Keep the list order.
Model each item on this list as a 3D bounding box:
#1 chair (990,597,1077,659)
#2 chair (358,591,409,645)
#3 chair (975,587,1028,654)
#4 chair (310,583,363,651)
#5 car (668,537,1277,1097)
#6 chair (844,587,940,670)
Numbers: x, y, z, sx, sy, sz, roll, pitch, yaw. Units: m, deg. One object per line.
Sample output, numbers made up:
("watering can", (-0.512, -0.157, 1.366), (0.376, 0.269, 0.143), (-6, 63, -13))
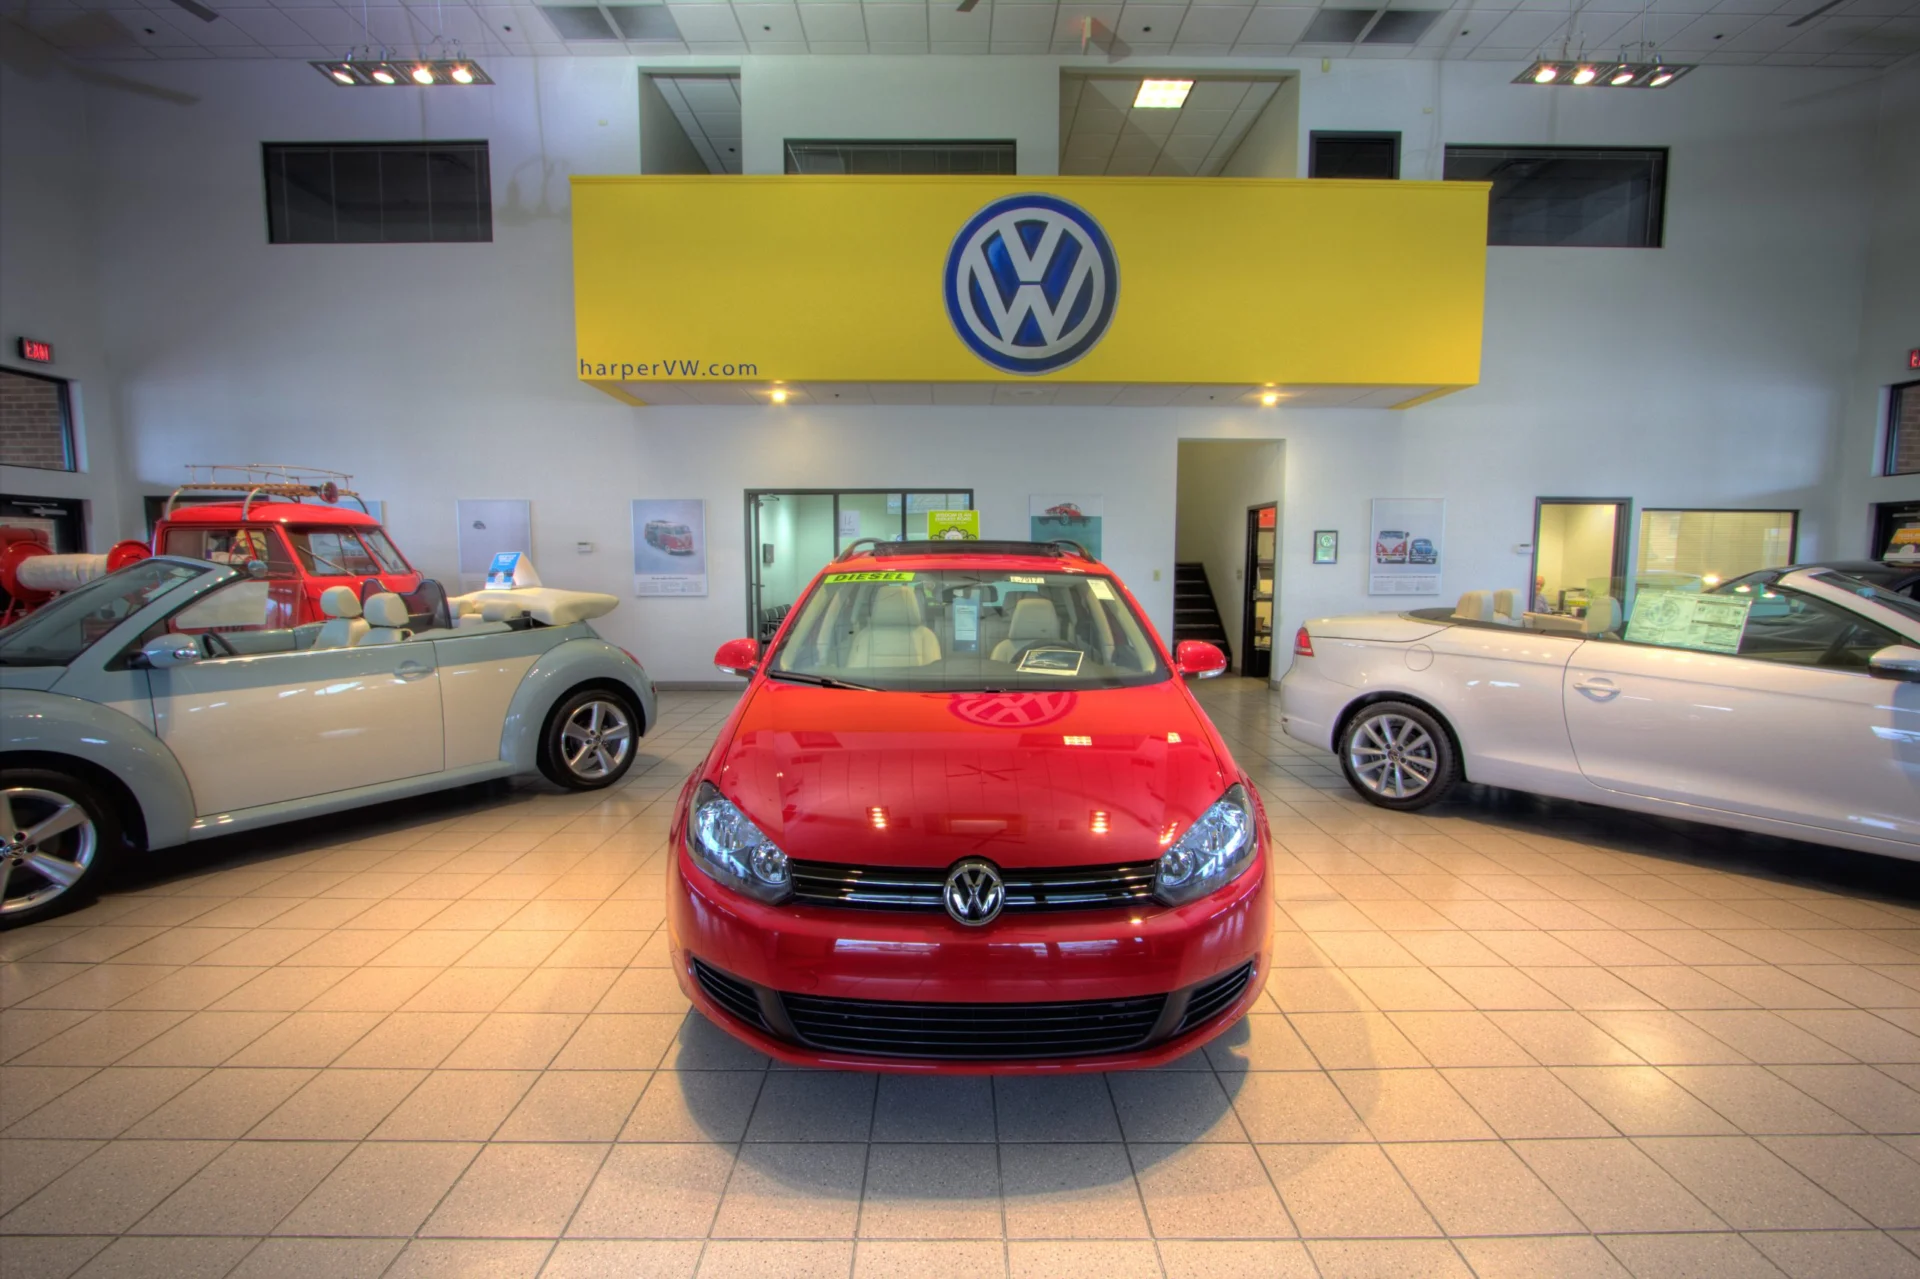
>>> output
("chair", (0.411, -0.078, 6.200), (0.439, 0.399, 0.367), (3, 39, -1))
("chair", (-3.991, -0.140, 7.492), (0.367, 0.378, 0.236), (5, 22, 2))
("chair", (0.223, -0.117, 6.226), (0.353, 0.553, 0.321), (2, 8, -1))
("chair", (-4.203, -0.146, 7.363), (0.314, 0.392, 0.404), (-2, 15, -11))
("car", (0.057, 0.762, 5.765), (2.950, 2.285, 1.829), (-1, 9, 4))
("chair", (-0.364, -0.060, 6.309), (0.432, 0.532, 0.465), (0, -11, -2))
